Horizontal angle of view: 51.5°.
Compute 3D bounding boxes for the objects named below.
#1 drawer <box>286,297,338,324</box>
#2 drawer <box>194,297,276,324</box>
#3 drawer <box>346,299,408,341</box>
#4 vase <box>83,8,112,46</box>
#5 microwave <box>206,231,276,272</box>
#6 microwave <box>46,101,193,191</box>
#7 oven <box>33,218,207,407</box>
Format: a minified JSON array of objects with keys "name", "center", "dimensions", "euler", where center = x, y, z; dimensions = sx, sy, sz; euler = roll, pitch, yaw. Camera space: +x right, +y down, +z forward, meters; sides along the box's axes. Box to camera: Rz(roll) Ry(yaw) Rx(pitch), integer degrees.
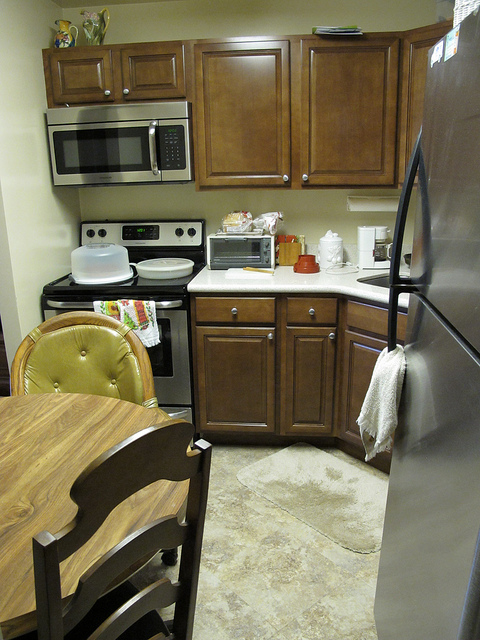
[{"name":"drawer","center":[0.351,-0.049,2.439],"dimensions":[0.155,0.101,0.166],"euler":[1,11,7]},{"name":"drawer","center":[-0.025,-0.046,2.482],"dimensions":[0.395,0.138,0.028],"euler":[0,15,5]},{"name":"drawer","center":[0.606,-0.056,2.295],"dimensions":[0.260,0.129,0.169],"euler":[16,17,40]},{"name":"vase","center":[-0.754,-1.518,2.595],"dimensions":[0.114,0.212,0.194],"euler":[-3,15,-7]},{"name":"microwave","center":[0.011,-0.373,2.734],"dimensions":[0.325,0.214,0.230],"euler":[1,10,4]},{"name":"microwave","center":[-0.656,-0.911,2.823],"dimensions":[0.754,0.424,0.483],"euler":[-3,4,4]},{"name":"oven","center":[-0.589,-0.011,2.878],"dimensions":[0.908,1.074,0.858],"euler":[-8,22,-15]}]
